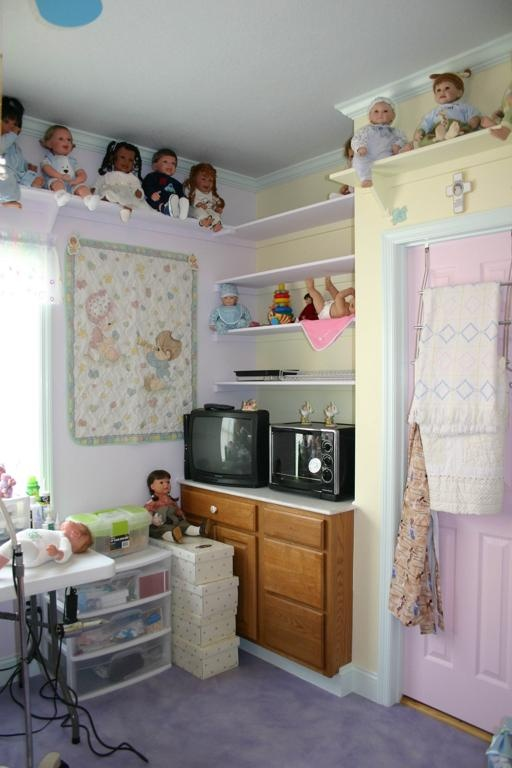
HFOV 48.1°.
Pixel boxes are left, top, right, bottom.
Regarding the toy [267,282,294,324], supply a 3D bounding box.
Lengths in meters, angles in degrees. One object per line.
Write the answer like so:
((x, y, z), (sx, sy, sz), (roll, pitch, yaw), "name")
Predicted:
((0.145, -0.444, 3.259), (0.136, 0.262, 0.328), (0, -2, 1), "toy")

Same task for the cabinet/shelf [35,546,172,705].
((-0.643, 1.052, 2.605), (0.468, 0.541, 0.318), (-2, 0, -35), "cabinet/shelf")

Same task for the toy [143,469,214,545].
((-0.439, 0.628, 2.985), (0.336, 0.359, 0.229), (-7, -7, 42), "toy")

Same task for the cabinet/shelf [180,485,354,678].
((0.085, 0.903, 2.795), (0.892, 0.767, 0.316), (1, 3, 42), "cabinet/shelf")

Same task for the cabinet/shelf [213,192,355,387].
((0.162, -0.533, 3.240), (0.344, 1.107, 1.153), (3, -4, -32), "cabinet/shelf")

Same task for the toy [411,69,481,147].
((0.691, -0.992, 2.072), (0.217, 0.299, 0.178), (-1, 6, 31), "toy")

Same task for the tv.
((-0.152, 0.325, 3.083), (0.442, 0.392, 0.247), (1, 1, 26), "tv")

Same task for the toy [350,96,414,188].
((0.487, -0.945, 2.185), (0.238, 0.267, 0.248), (19, 45, 26), "toy")

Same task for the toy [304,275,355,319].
((0.371, -0.423, 2.893), (0.217, 0.253, 0.443), (0, -2, 3), "toy")

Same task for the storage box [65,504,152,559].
((-0.688, 0.608, 2.678), (0.223, 0.180, 0.343), (-2, -2, 40), "storage box")

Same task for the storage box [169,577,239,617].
((-0.222, 0.984, 2.684), (0.204, 0.130, 0.204), (1, -1, -43), "storage box")

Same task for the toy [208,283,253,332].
((-0.164, -0.456, 3.424), (0.266, 0.270, 0.146), (-3, 16, -18), "toy")

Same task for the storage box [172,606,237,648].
((-0.219, 1.114, 2.655), (0.186, 0.094, 0.185), (0, 1, -41), "storage box")

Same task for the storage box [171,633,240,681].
((-0.215, 1.224, 2.654), (0.189, 0.114, 0.189), (0, 2, -44), "storage box")

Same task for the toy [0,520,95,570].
((-0.738, 0.588, 2.108), (0.162, 0.083, 0.214), (12, 9, 36), "toy")
